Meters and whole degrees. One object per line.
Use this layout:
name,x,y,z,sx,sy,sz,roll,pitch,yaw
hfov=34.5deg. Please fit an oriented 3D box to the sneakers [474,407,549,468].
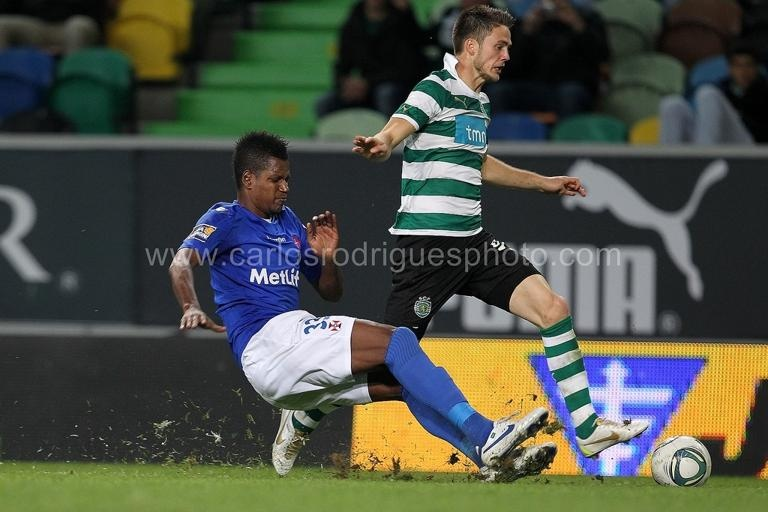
sneakers,0.824,1.177,7.929,0.497,0.168,0.271,-40,36,-11

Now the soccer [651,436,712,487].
soccer,1.980,1.379,8.263,0.378,0.315,0.184,3,13,12

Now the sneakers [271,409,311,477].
sneakers,-0.682,1.322,8.669,0.242,0.547,0.174,-2,-24,43

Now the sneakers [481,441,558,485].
sneakers,0.850,1.330,7.957,0.464,0.152,0.206,-23,29,-6
